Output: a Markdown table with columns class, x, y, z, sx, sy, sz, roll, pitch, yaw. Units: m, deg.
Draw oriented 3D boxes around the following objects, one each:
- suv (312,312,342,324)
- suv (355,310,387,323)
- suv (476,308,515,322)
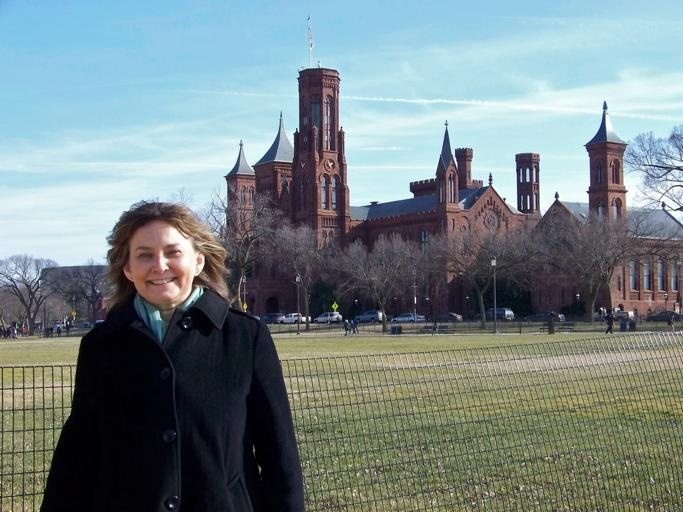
| class | x | y | z | sx | sy | sz | roll | pitch | yaw |
| --- | --- | --- | --- | --- | --- | --- | --- | --- | --- |
| suv | -1.392 | 6.280 | 94.102 | 2.174 | 0.968 | 1.232 | 2 | -1 | 35 |
| suv | 3.044 | 6.432 | 96.934 | 1.227 | 1.178 | 2.846 | 6 | -2 | -43 |
| suv | 15.279 | 6.103 | 91.647 | 1.530 | 1.266 | 3.083 | 2 | 0 | -44 |
